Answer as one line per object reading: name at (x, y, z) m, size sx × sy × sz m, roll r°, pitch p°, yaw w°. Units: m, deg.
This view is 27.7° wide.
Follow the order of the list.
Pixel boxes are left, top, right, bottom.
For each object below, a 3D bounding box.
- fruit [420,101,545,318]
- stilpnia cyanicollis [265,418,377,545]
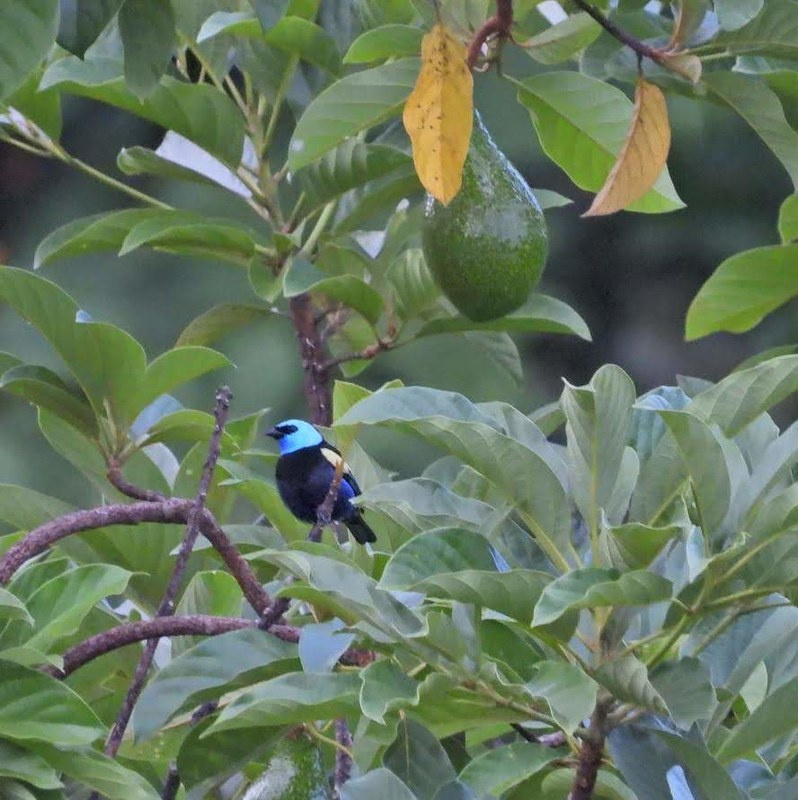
fruit at (0.066, -0.132, 1.206) m, size 0.077 × 0.136 × 0.095 m, roll 35°, pitch 58°, yaw 25°
stilpnia cyanicollis at (-0.083, 0.083, 1.716) m, size 0.072 × 0.149 × 0.115 m, roll -25°, pitch 56°, yaw 31°
